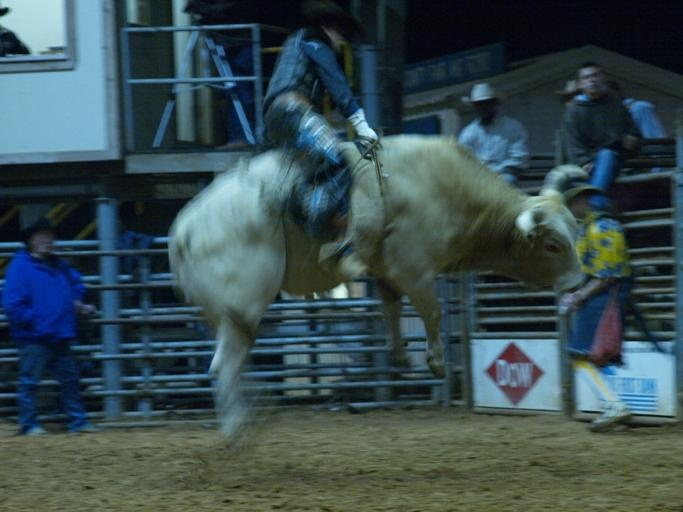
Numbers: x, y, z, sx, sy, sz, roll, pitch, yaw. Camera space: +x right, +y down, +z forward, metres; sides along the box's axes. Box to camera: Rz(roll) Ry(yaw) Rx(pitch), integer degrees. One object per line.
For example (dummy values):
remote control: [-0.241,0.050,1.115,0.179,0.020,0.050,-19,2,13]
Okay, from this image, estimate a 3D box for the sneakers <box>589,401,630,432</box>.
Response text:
sneakers: [2.620,1.543,15.043,0.550,0.199,0.188,-20,9,-27]

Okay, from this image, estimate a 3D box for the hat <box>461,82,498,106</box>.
hat: [1.434,-1.714,15.762,0.371,0.112,0.372,-10,-6,11]

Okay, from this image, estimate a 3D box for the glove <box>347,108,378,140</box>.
glove: [0.171,-1.155,13.367,0.255,0.259,0.250,-2,15,-1]

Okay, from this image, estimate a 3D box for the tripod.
tripod: [-1.588,-1.933,17.421,1.043,1.371,1.399,-15,20,-38]

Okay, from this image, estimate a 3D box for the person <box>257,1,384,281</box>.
person: [-0.207,-1.022,13.438,0.986,2.399,1.128,-4,17,-7]

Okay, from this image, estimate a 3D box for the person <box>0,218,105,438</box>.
person: [-2.956,0.721,15.412,0.884,2.016,0.747,-5,17,-9]
